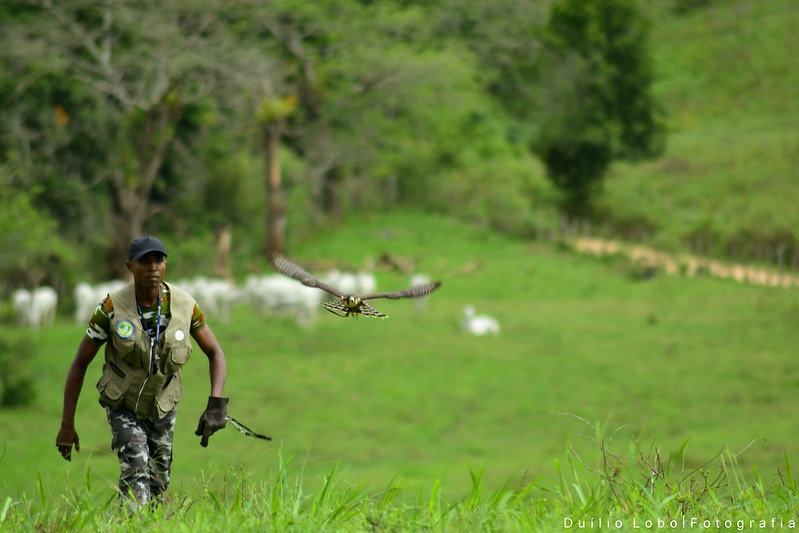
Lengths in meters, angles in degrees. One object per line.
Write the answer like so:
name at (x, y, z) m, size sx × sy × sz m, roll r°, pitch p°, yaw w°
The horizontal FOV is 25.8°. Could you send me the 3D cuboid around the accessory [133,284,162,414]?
accessory at (-3.528, 1.154, 24.837) m, size 0.177 × 1.570 × 0.507 m, roll 10°, pitch 17°, yaw 38°
